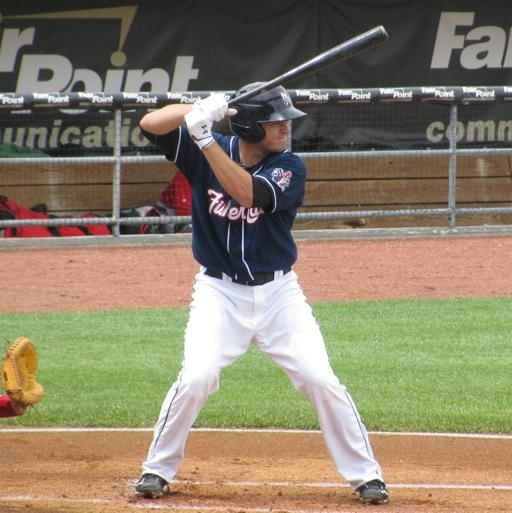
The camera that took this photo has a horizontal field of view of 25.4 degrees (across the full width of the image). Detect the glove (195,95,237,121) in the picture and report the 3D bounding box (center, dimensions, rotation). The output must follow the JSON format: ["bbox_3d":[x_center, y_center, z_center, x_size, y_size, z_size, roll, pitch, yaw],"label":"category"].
[{"bbox_3d":[-0.269,-0.975,7.461,0.191,0.081,0.246,-4,10,-39],"label":"glove"}]

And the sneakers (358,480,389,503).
[{"bbox_3d":[0.765,1.531,7.465,0.216,0.162,0.176,0,2,5],"label":"sneakers"}]

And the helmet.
[{"bbox_3d":[0.055,-0.965,7.551,0.544,0.338,0.365,1,9,15],"label":"helmet"}]

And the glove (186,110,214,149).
[{"bbox_3d":[-0.366,-0.823,7.433,0.193,0.260,0.191,0,2,4],"label":"glove"}]

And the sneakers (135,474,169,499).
[{"bbox_3d":[-0.685,1.491,7.451,0.219,0.171,0.147,0,2,-6],"label":"sneakers"}]
